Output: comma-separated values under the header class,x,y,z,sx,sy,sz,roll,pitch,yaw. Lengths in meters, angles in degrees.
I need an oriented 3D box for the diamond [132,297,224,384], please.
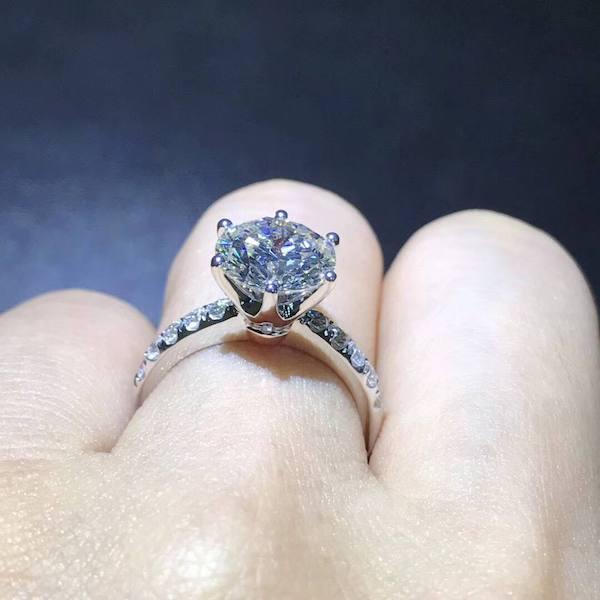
class,x,y,z,sx,sy,sz,roll,pitch,yaw
diamond,-0.121,0.039,0.743,0.076,0.091,0.032,44,-9,8
